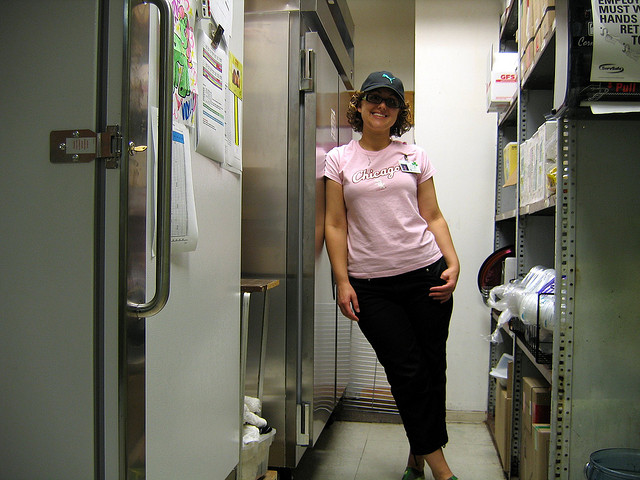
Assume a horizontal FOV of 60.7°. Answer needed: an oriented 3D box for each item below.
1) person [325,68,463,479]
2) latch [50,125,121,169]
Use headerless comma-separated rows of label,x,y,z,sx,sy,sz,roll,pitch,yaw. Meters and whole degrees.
person,0.296,0.119,2.237,0.546,1.619,0.318,-2,1,1
latch,-0.473,-0.185,1.105,0.144,0.080,0.027,-2,1,9
